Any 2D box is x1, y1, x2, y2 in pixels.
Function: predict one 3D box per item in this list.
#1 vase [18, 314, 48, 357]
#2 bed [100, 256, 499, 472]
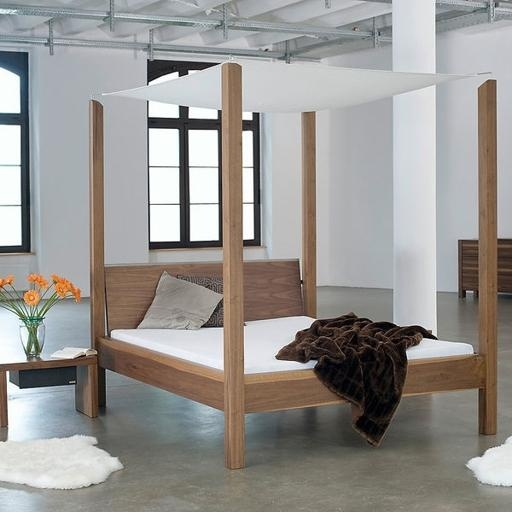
[{"bbox_3d":[-1.348,0.492,3.437,0.244,0.219,0.222,-1,-7,-16],"label":"vase"},{"bbox_3d":[0.098,0.265,3.543,1.855,1.269,2.015,-2,0,-23],"label":"bed"}]
